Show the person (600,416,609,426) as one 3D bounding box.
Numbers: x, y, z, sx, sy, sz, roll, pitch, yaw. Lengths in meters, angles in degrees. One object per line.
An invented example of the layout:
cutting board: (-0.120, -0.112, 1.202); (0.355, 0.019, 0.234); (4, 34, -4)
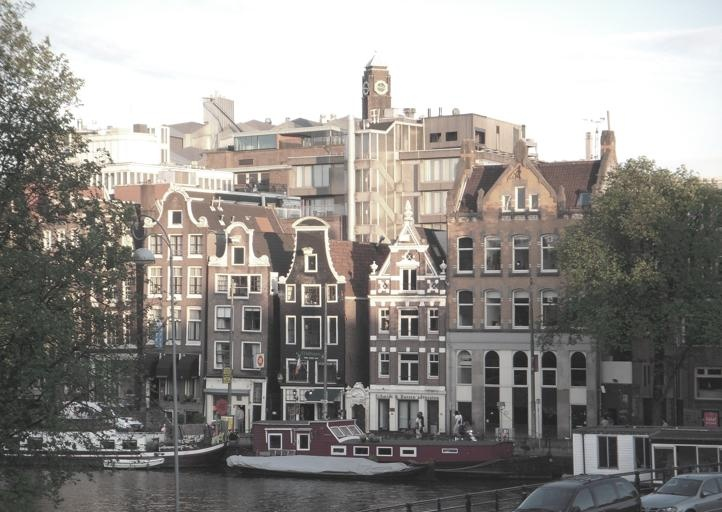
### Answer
person: (17.792, 11.954, 145.396); (0.787, 0.435, 1.341); (8, 12, 4)

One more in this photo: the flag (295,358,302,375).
flag: (-4.857, 8.780, 158.549); (0.605, 1.391, 0.286); (-10, -16, 40)
